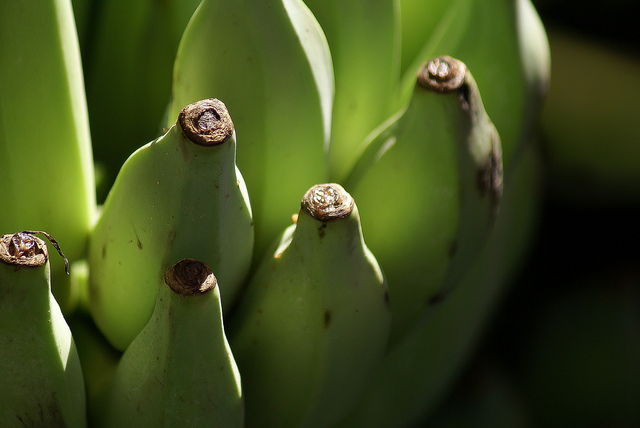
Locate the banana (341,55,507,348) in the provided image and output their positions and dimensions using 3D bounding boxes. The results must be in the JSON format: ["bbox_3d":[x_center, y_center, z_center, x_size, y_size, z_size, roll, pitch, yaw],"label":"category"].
[{"bbox_3d":[0.102,-0.043,0.744,0.122,0.124,0.320,12,-11,-7],"label":"banana"}]

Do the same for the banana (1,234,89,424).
[{"bbox_3d":[-0.214,0.093,0.566,0.078,0.158,0.039,9,-2,-20],"label":"banana"}]

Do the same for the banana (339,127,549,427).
[{"bbox_3d":[0.112,0.070,0.693,0.052,0.286,0.090,28,3,-15],"label":"banana"}]

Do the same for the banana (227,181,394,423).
[{"bbox_3d":[-0.005,0.081,0.641,0.117,0.223,0.084,3,32,-14],"label":"banana"}]

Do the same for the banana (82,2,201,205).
[{"bbox_3d":[-0.192,-0.144,0.791,0.066,0.352,0.101,8,0,-26],"label":"banana"}]

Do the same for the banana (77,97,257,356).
[{"bbox_3d":[-0.133,0.016,0.646,0.132,0.247,0.127,38,34,20],"label":"banana"}]
